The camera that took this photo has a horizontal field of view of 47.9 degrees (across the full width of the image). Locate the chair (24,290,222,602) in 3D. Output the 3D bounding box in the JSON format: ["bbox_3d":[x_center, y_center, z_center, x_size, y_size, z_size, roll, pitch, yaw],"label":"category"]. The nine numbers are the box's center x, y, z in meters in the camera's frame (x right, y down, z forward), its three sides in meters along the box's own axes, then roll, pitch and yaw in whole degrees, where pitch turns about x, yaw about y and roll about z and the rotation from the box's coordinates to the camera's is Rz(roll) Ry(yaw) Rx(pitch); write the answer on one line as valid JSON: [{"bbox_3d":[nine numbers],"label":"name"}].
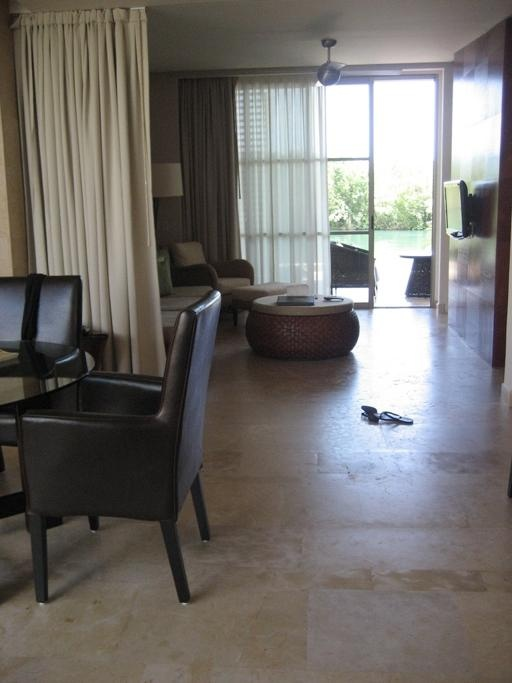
[{"bbox_3d":[-0.303,0.229,2.152,0.754,1.333,0.912,3,7,2],"label":"chair"}]

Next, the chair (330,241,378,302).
[{"bbox_3d":[1.213,-0.930,7.319,0.629,0.748,0.650,4,11,29],"label":"chair"}]

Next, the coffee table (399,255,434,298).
[{"bbox_3d":[2.092,-0.831,7.389,0.493,0.524,0.488,0,7,5],"label":"coffee table"}]

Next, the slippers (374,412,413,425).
[{"bbox_3d":[0.794,0.427,3.278,0.195,0.038,0.199,1,10,13],"label":"slippers"}]

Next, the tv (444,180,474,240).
[{"bbox_3d":[1.769,-1.127,4.978,0.158,0.503,0.508,-6,13,5],"label":"tv"}]

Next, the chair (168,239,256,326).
[{"bbox_3d":[-0.504,-0.658,6.256,0.899,0.840,0.832,1,10,15],"label":"chair"}]

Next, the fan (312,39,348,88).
[{"bbox_3d":[0.671,-2.513,5.235,0.207,0.416,0.253,5,5,31],"label":"fan"}]

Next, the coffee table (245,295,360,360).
[{"bbox_3d":[0.421,-0.180,4.978,0.960,0.483,0.986,9,20,33],"label":"coffee table"}]
